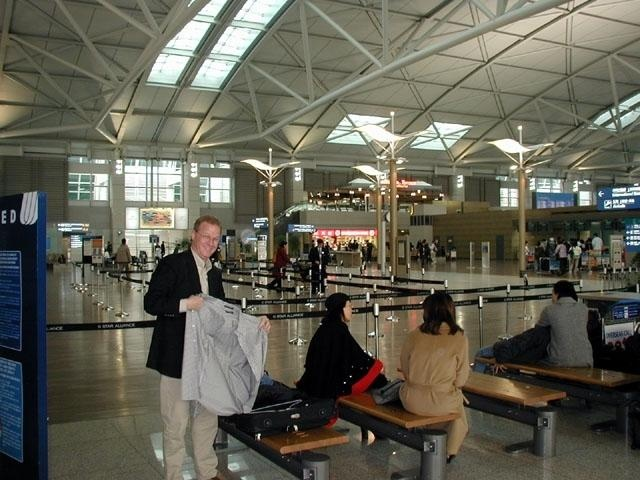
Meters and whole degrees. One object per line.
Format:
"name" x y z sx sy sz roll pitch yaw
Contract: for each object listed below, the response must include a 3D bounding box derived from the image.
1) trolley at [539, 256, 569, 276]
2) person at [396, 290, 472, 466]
"trolley" 13.087 1.469 27.020 1.345 0.769 0.933 0 2 4
"person" 1.103 1.309 4.698 0.674 1.614 0.423 -1 -1 -7
